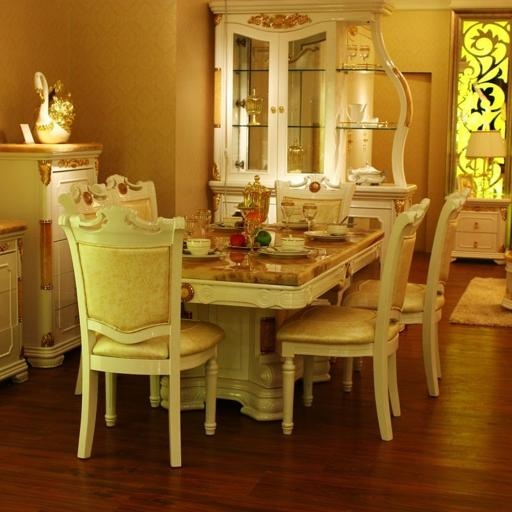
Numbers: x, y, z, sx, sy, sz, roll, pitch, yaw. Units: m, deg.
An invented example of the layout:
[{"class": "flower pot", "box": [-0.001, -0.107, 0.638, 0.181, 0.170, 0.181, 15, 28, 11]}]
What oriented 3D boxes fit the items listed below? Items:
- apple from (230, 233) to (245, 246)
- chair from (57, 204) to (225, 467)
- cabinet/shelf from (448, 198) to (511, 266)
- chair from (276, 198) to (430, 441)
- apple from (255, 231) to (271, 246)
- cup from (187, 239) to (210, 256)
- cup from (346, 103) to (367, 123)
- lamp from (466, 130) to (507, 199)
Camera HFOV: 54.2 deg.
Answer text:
[{"class": "apple", "box": [-0.088, -0.081, 2.386, 0.058, 0.068, 0.057, -6, 9, -32]}, {"class": "chair", "box": [-0.399, 0.265, 1.835, 0.496, 0.826, 0.494, 1, 5, -2]}, {"class": "cabinet/shelf", "box": [2.730, -0.297, 6.093, 0.837, 1.008, 0.699, 2, 4, 23]}, {"class": "chair", "box": [0.412, 0.264, 2.165, 0.558, 0.915, 0.520, 2, 3, 24]}, {"class": "apple", "box": [0.037, -0.084, 2.397, 0.057, 0.059, 0.077, -1, 3, 4]}, {"class": "cup", "box": [-0.238, -0.044, 2.107, 0.078, 0.048, 0.072, -1, 11, 0]}, {"class": "cup", "box": [0.930, -1.346, 4.722, 0.226, 0.224, 0.147, 5, 10, 27]}, {"class": "lamp", "box": [3.161, -1.311, 6.899, 0.477, 0.908, 0.531, 1, 1, 28]}]
